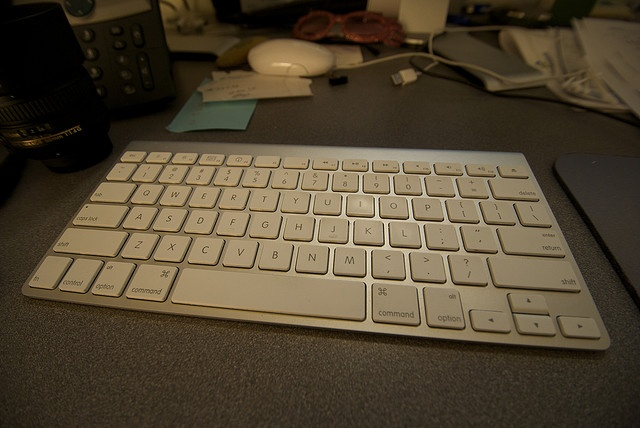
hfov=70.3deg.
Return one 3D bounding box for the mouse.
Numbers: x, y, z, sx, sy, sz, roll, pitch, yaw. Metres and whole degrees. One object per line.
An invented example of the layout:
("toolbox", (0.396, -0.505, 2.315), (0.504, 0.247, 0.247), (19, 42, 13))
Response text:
("mouse", (-0.049, -0.264, 0.779), (0.112, 0.031, 0.073), (4, 41, 1))
